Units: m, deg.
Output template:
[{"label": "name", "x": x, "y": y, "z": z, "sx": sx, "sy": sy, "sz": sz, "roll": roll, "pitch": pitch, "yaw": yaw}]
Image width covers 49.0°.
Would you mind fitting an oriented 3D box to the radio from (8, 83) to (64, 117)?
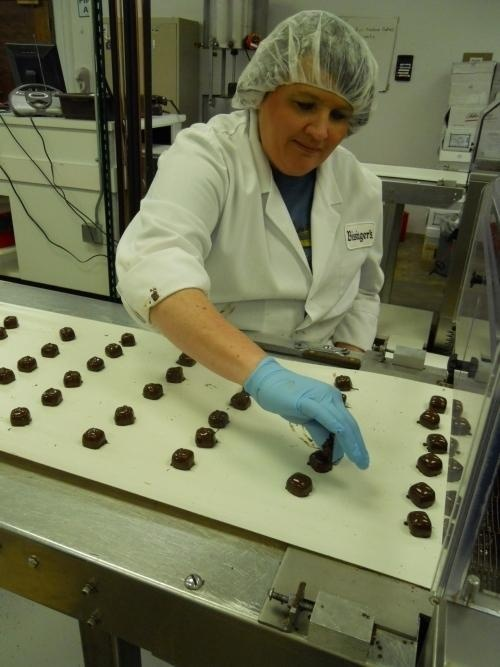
[{"label": "radio", "x": -1.225, "y": -1.336, "z": 3.212, "sx": 0.353, "sy": 0.210, "sz": 0.221, "roll": -3, "pitch": 34, "yaw": -6}]
